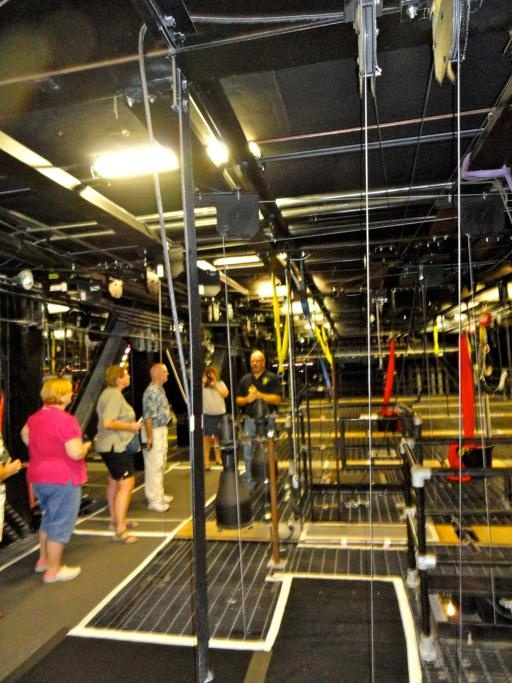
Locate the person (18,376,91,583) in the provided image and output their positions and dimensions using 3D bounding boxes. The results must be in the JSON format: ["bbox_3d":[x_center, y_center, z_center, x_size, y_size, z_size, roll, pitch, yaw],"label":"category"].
[{"bbox_3d":[-1.298,0.902,3.313,0.396,1.078,0.259,-1,0,-14],"label":"person"}]

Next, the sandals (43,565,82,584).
[{"bbox_3d":[-1.249,1.524,3.294,0.092,0.073,0.172,-10,-18,42],"label":"sandals"}]

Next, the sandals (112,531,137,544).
[{"bbox_3d":[-1.003,1.501,3.843,0.141,0.059,0.075,1,-6,3],"label":"sandals"}]

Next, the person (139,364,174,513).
[{"bbox_3d":[-0.829,0.873,4.291,0.260,1.143,1.132,-1,0,-11],"label":"person"}]

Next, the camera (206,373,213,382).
[{"bbox_3d":[-0.344,0.278,3.738,0.038,0.064,0.106,-1,0,10],"label":"camera"}]

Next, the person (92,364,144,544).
[{"bbox_3d":[-1.070,0.862,3.958,0.352,1.151,0.372,-1,0,-14],"label":"person"}]

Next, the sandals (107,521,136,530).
[{"bbox_3d":[-1.075,1.484,4.067,0.233,0.103,0.084,-1,-5,-2],"label":"sandals"}]
